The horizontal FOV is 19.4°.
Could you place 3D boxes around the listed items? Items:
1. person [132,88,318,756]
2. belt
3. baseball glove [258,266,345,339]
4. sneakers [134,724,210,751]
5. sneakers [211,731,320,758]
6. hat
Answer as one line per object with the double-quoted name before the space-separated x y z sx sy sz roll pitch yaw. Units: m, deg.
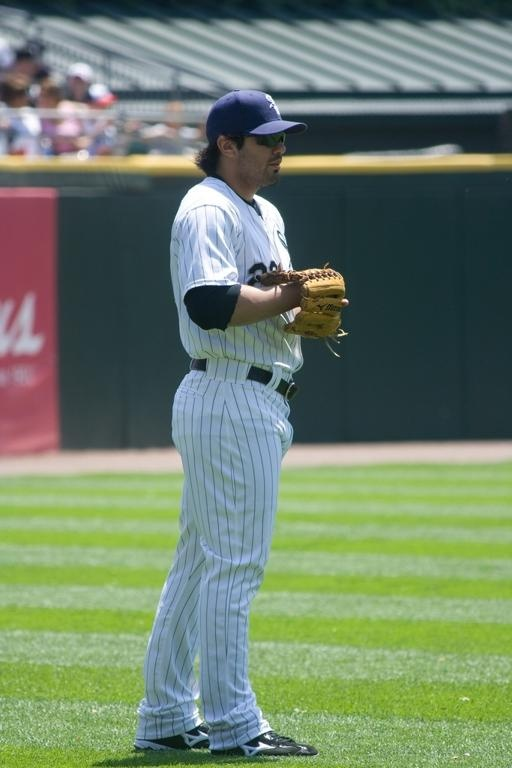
"person" -0.107 0.096 4.069 0.486 1.784 0.483 -1 7 -2
"belt" -0.011 -0.017 4.031 0.187 0.049 0.143 19 0 -14
"baseball glove" 0.133 -0.237 4.012 0.188 0.203 0.223 -3 34 3
"sneakers" -0.241 0.962 4.108 0.221 0.097 0.071 -2 -4 -6
"sneakers" 0.032 0.953 4.004 0.291 0.084 0.096 -4 -8 2
"hat" -0.005 -0.747 4.116 0.281 0.130 0.193 0 9 22
